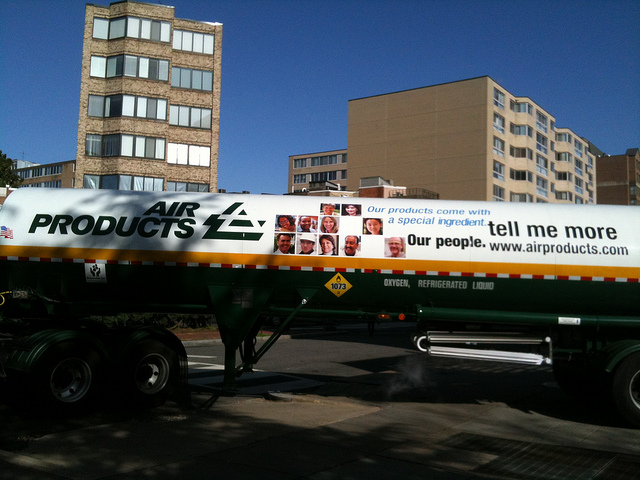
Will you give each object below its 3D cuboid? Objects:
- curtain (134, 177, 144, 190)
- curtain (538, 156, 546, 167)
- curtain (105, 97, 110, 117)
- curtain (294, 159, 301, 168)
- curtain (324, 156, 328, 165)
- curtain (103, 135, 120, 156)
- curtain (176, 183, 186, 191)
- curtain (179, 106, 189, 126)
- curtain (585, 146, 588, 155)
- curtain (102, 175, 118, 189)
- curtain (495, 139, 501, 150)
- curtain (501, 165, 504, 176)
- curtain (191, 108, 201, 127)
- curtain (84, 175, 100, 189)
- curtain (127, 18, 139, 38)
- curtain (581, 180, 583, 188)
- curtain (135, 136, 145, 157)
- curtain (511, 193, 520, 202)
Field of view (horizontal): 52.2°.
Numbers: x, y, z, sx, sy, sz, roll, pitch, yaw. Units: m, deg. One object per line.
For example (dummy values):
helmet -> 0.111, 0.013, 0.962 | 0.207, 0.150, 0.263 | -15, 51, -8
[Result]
curtain -> -12.988, -4.117, 47.011 | 0.611, 0.852, 0.244 | 2, -3, -4
curtain -> 24.010, -8.583, 71.208 | 1.355, 1.223, 0.088 | 16, -25, -40
curtain -> -15.292, -9.612, 47.139 | 0.485, 1.428, 0.076 | 0, -4, 34
curtain -> -4.136, -14.120, 120.112 | 1.869, 1.627, 0.127 | 1, -5, 3
curtain -> 1.000, -14.016, 114.464 | 0.100, 1.483, 0.885 | 5, -4, -42
curtain -> -14.851, -6.802, 46.818 | 1.808, 1.832, 0.152 | 1, 2, 29
curtain -> -10.078, -3.906, 47.641 | 0.966, 0.795, 0.478 | 1, -3, -9
curtain -> -9.966, -9.150, 48.027 | 0.698, 1.439, 0.111 | 4, -4, -26
curtain -> 34.746, -11.793, 85.791 | 0.100, 1.014, 2.115 | 0, -3, 28
curtain -> -14.961, -4.204, 46.839 | 0.487, 0.934, 1.511 | 5, -4, -45
curtain -> 16.867, -9.177, 62.288 | 1.186, 1.062, 0.115 | 15, -30, -41
curtain -> 17.653, -6.801, 63.529 | 0.081, 0.857, 0.776 | 0, -3, 32
curtain -> -9.171, -9.097, 48.379 | 0.705, 1.443, 0.123 | 4, -4, -31
curtain -> -16.450, -4.286, 47.259 | 1.015, 0.886, 0.584 | 3, -3, -19
curtain -> -13.353, -15.269, 46.834 | 0.760, 1.390, 0.152 | 5, -4, -39
curtain -> 33.220, -7.215, 83.409 | 0.113, 1.049, 1.122 | -1, -1, 37
curtain -> -12.903, -6.739, 47.007 | 0.587, 1.487, 0.134 | 4, -4, -30
curtain -> 19.688, -4.420, 66.250 | 0.550, 0.778, 2.010 | 0, -2, 26
